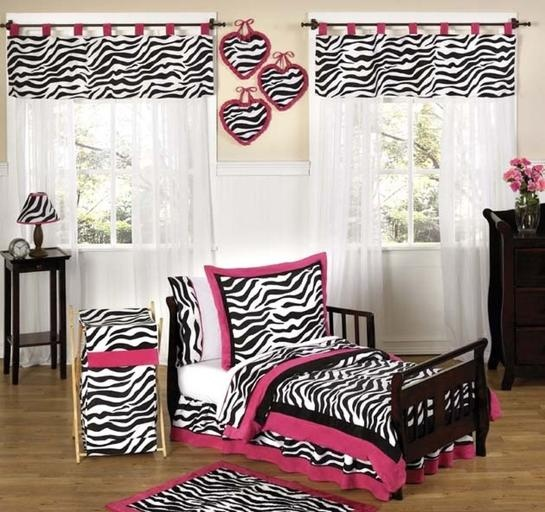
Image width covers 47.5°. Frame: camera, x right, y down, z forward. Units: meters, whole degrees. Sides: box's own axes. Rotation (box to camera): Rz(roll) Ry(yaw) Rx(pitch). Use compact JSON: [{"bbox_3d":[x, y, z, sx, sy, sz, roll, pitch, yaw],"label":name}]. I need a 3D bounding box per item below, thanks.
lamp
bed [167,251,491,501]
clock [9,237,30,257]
[{"bbox_3d":[-1.644,-0.227,4.343,0.259,0.424,0.364,-3,8,-21],"label":"lamp"},{"bbox_3d":[0.190,0.567,3.133,1.243,0.978,1.032,5,10,41],"label":"bed"},{"bbox_3d":[-1.713,-0.067,4.213,0.115,0.145,0.119,5,8,41],"label":"clock"}]
